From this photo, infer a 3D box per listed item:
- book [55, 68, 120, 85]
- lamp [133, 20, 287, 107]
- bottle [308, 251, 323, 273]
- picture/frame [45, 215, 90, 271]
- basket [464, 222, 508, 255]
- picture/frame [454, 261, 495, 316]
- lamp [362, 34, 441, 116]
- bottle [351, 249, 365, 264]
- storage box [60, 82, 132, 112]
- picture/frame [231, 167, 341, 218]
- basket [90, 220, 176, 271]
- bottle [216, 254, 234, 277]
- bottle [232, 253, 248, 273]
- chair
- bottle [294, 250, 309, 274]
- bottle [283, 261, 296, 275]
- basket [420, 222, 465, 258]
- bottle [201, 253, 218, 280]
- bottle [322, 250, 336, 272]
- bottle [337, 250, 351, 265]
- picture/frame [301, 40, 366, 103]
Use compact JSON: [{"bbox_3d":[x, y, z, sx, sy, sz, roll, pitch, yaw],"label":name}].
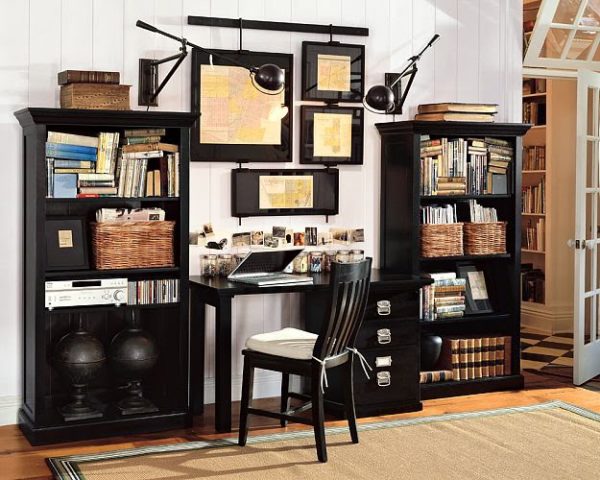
[{"bbox_3d":[-1.226,-0.925,3.896,0.391,0.084,0.206,1,9,1],"label":"book"},{"bbox_3d":[-0.541,-1.066,4.110,0.775,0.388,0.483,-3,-31,-15],"label":"lamp"},{"bbox_3d":[0.099,0.147,4.472,0.121,0.167,0.119,2,0,0],"label":"bottle"},{"bbox_3d":[-1.323,0.022,3.855,0.315,0.358,0.036,-3,-15,-30],"label":"picture/frame"},{"bbox_3d":[1.328,-0.018,4.880,0.374,0.260,0.215,-1,2,-21],"label":"basket"},{"bbox_3d":[1.264,0.352,4.948,0.341,0.317,0.077,6,-18,-32],"label":"picture/frame"},{"bbox_3d":[0.659,-1.127,4.614,0.389,0.527,0.858,6,10,29],"label":"lamp"},{"bbox_3d":[0.386,0.102,4.582,0.076,0.070,0.075,1,1,0],"label":"bottle"},{"bbox_3d":[-1.157,-0.817,3.866,0.362,0.140,0.138,-1,9,-10],"label":"storage box"},{"bbox_3d":[-0.093,-0.325,4.570,0.740,0.302,0.103,-4,10,-26],"label":"picture/frame"},{"bbox_3d":[-0.965,0.029,3.962,0.479,0.289,0.275,-1,0,-23],"label":"basket"},{"bbox_3d":[-0.479,0.154,4.399,0.121,0.124,0.119,1,4,-5],"label":"bottle"},{"bbox_3d":[-0.388,0.142,4.334,0.111,0.172,0.109,0,3,0],"label":"bottle"},{"bbox_3d":[0.040,0.646,3.847,0.607,1.001,0.563,1,0,31],"label":"chair"},{"bbox_3d":[0.007,0.154,4.607,0.128,0.149,0.131,1,2,-21],"label":"bottle"},{"bbox_3d":[-0.072,0.185,4.484,0.104,0.097,0.061,1,-1,-36],"label":"bottle"},{"bbox_3d":[0.988,-0.003,4.709,0.365,0.250,0.218,-1,0,-29],"label":"basket"},{"bbox_3d":[-0.577,0.160,4.301,0.128,0.133,0.126,0,3,-14],"label":"bottle"},{"bbox_3d":[0.170,0.142,4.604,0.120,0.177,0.119,2,1,0],"label":"bottle"},{"bbox_3d":[0.285,0.111,4.547,0.076,0.072,0.075,1,3,-17],"label":"bottle"},{"bbox_3d":[0.203,-1.153,4.637,0.509,0.423,0.054,-2,10,-15],"label":"picture/frame"}]
